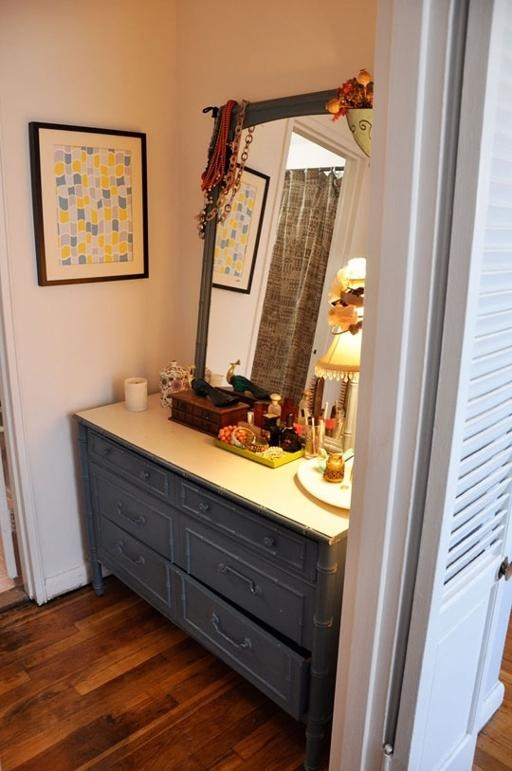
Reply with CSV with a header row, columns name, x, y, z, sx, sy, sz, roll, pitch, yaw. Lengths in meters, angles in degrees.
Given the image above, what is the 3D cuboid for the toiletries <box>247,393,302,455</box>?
name,x,y,z,sx,sy,sz,roll,pitch,yaw
toiletries,0.070,0.141,1.962,0.103,0.240,0.123,-14,26,-21

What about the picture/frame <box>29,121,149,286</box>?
name,x,y,z,sx,sy,sz,roll,pitch,yaw
picture/frame,-0.681,-0.739,2.187,0.025,0.748,0.575,11,15,39

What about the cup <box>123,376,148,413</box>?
name,x,y,z,sx,sy,sz,roll,pitch,yaw
cup,-0.512,0.029,2.380,0.115,0.148,0.118,2,17,0

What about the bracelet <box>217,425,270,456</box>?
name,x,y,z,sx,sy,sz,roll,pitch,yaw
bracelet,-0.045,0.165,1.959,0.093,0.050,0.126,-17,33,-39

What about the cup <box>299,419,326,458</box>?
name,x,y,z,sx,sy,sz,roll,pitch,yaw
cup,0.193,0.181,1.891,0.080,0.153,0.079,-1,16,0

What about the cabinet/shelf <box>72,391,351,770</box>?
name,x,y,z,sx,sy,sz,roll,pitch,yaw
cabinet/shelf,-0.135,0.646,1.817,0.320,0.623,0.835,-19,31,-40

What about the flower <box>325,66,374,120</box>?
name,x,y,z,sx,sy,sz,roll,pitch,yaw
flower,0.254,-0.845,1.617,0.098,0.100,0.213,-10,17,-36

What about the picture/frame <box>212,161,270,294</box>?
name,x,y,z,sx,sy,sz,roll,pitch,yaw
picture/frame,-0.052,-0.611,2.091,0.019,0.480,0.325,-4,29,-40

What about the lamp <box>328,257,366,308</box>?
name,x,y,z,sx,sy,sz,roll,pitch,yaw
lamp,0.268,-0.320,1.695,0.132,0.144,0.113,7,15,26
